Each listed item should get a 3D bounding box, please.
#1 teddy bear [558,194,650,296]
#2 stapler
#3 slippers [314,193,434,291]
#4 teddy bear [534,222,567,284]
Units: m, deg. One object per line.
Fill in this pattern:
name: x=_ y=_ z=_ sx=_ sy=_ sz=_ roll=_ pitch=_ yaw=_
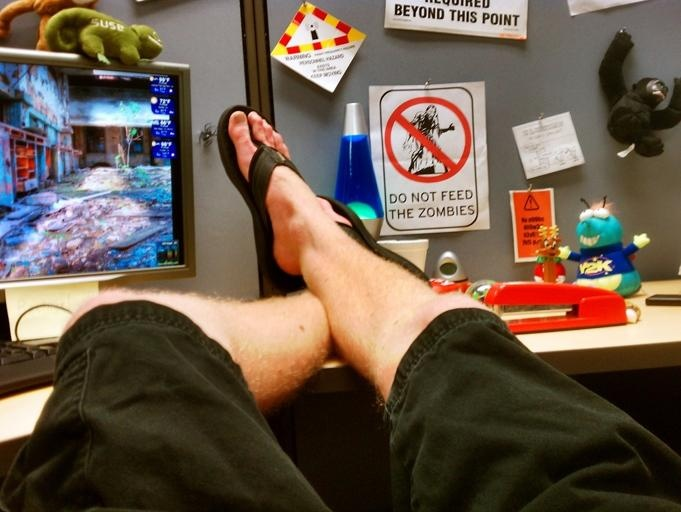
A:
teddy bear: x=0.486 y=-0.035 z=1.047 sx=0.136 sy=0.185 sz=0.130 roll=17 pitch=21 yaw=33
stapler: x=0.331 y=0.069 z=0.879 sx=0.286 sy=0.080 sz=0.113 roll=-1 pitch=91 yaw=-5
slippers: x=0.051 y=-0.041 z=0.927 sx=0.077 sy=0.082 sz=0.237 roll=-44 pitch=54 yaw=19
teddy bear: x=0.389 y=0.003 z=1.039 sx=0.050 sy=0.121 sz=0.053 roll=-4 pitch=18 yaw=-14
